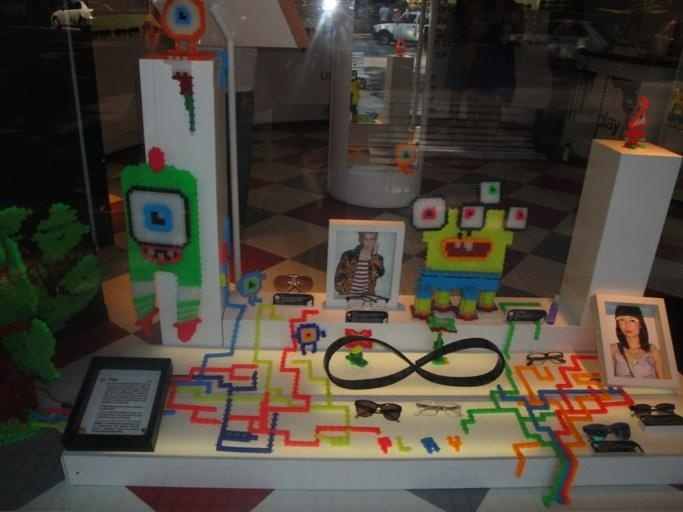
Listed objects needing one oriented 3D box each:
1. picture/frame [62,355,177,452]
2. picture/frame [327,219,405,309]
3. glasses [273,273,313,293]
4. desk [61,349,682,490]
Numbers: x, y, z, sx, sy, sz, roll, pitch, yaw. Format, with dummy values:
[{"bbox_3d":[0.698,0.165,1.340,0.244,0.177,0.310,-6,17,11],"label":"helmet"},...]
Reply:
[{"bbox_3d":[-0.839,0.553,1.902,0.317,0.213,0.303,1,26,-2],"label":"picture/frame"},{"bbox_3d":[0.098,0.034,2.192,0.425,0.477,0.055,4,21,-4],"label":"picture/frame"},{"bbox_3d":[-0.236,0.134,2.465,0.176,0.062,0.168,0,25,-4],"label":"glasses"},{"bbox_3d":[0.151,0.647,2.046,2.302,0.280,0.506,1,26,-2],"label":"desk"}]
